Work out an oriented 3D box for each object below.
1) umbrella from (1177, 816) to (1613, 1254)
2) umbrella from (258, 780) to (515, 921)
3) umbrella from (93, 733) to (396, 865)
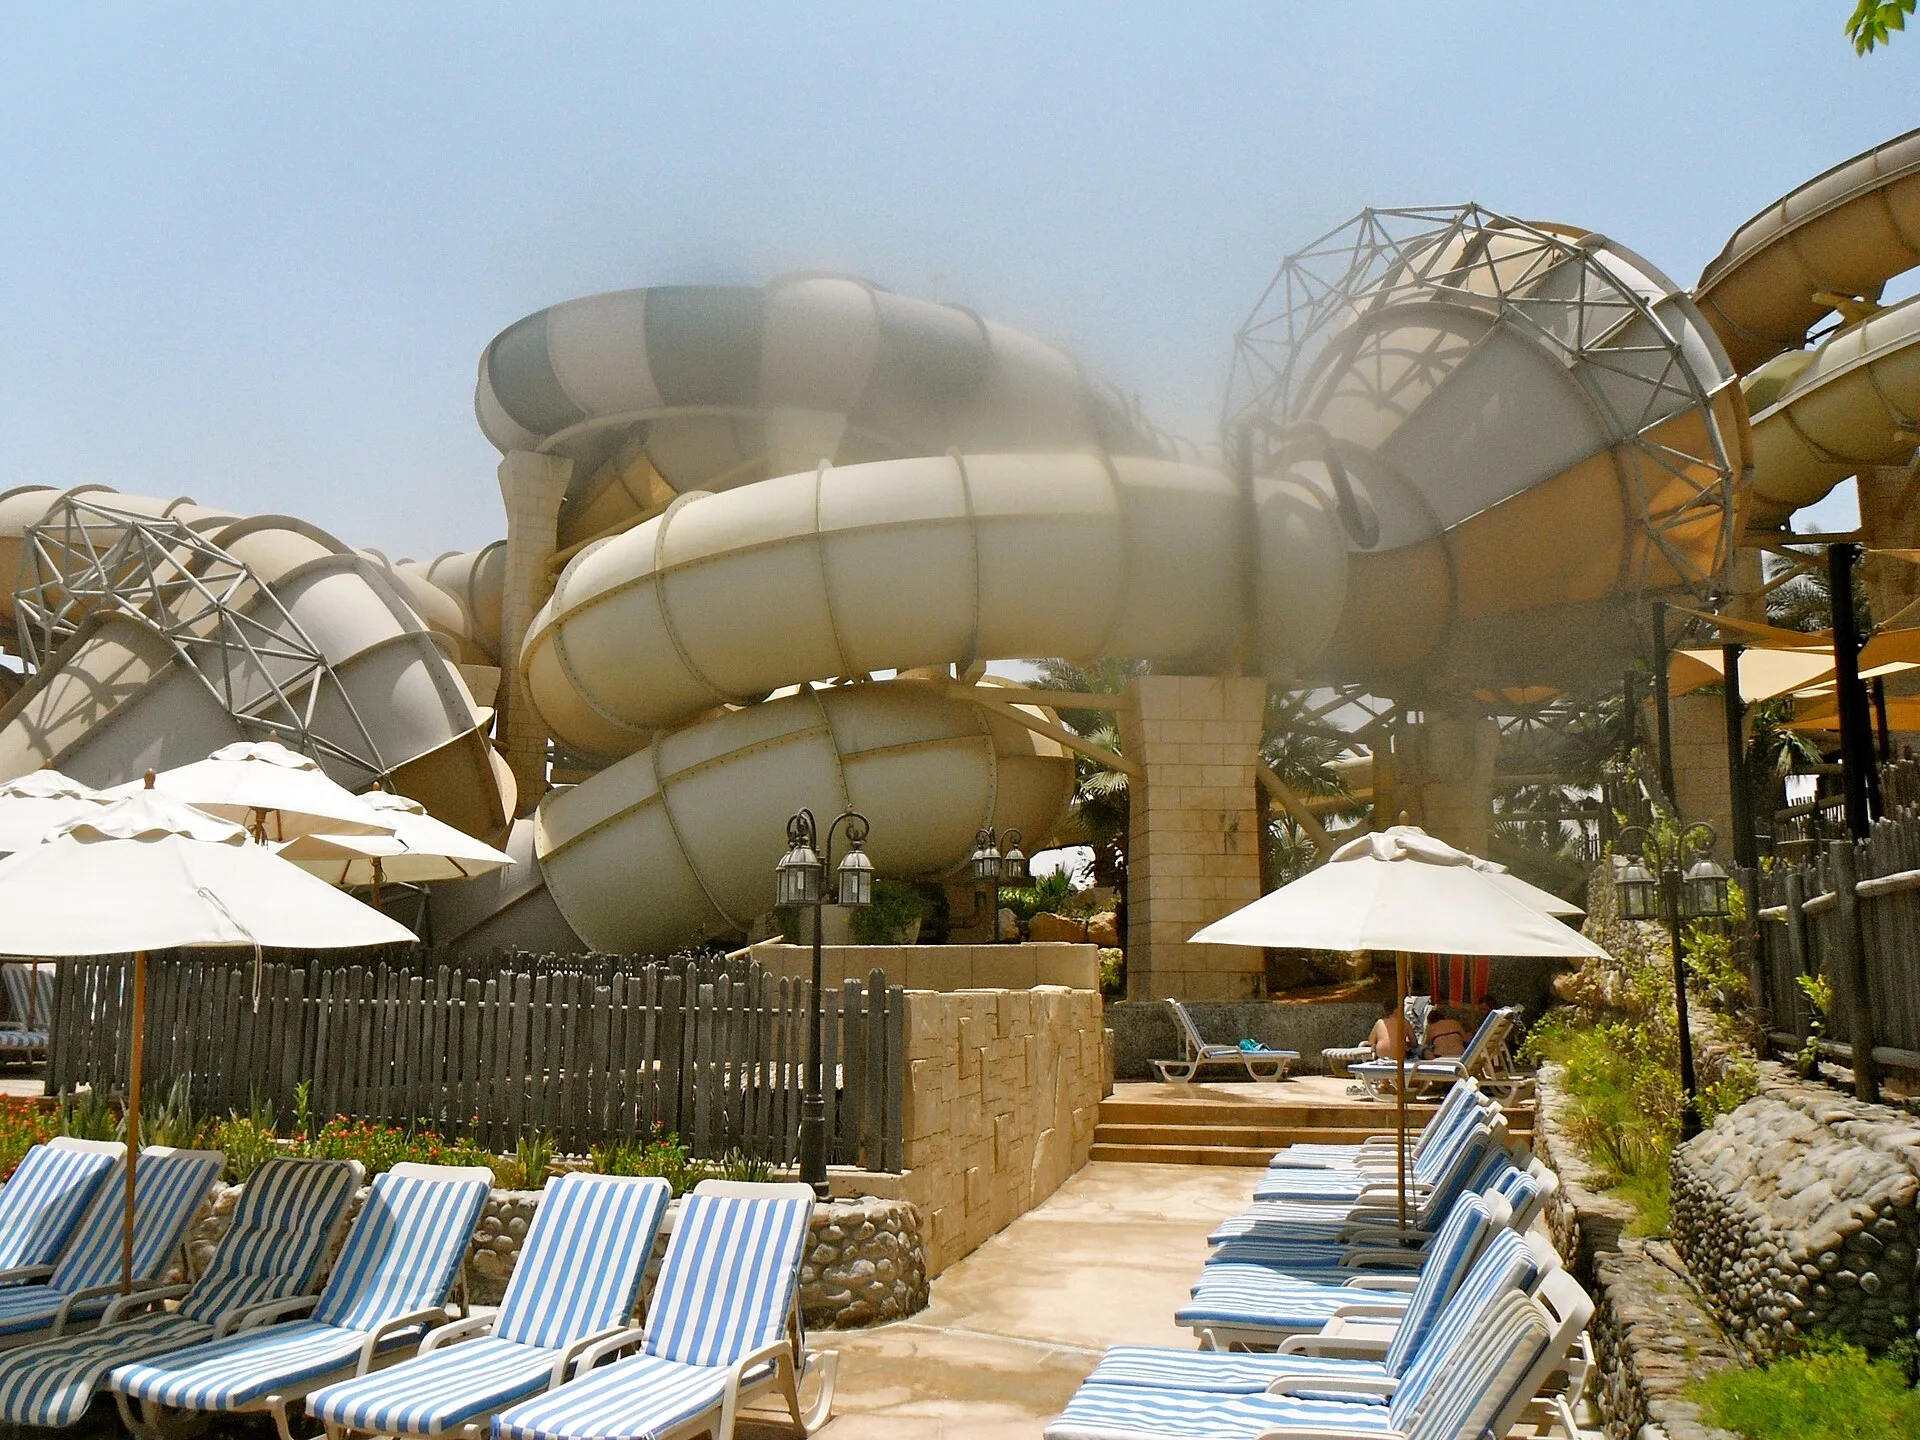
[{"bbox_3d":[2.999,1.916,10.641,2.505,2.640,2.625,-6,-8,40],"label":"umbrella"},{"bbox_3d":[-6.211,1.389,17.165,2.256,1.156,2.408,5,12,38],"label":"umbrella"},{"bbox_3d":[-6.346,0.727,14.519,1.797,0.812,1.934,-2,-10,17],"label":"umbrella"}]
